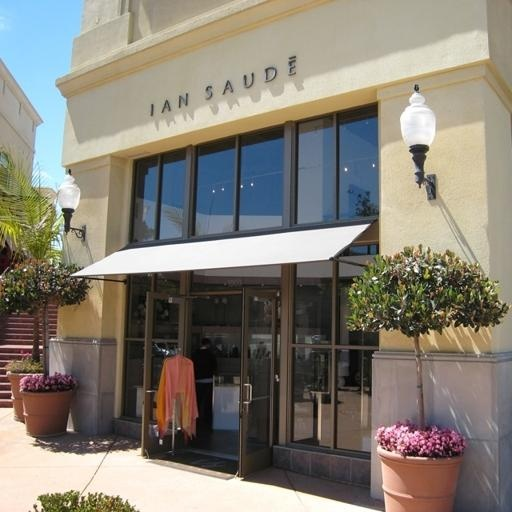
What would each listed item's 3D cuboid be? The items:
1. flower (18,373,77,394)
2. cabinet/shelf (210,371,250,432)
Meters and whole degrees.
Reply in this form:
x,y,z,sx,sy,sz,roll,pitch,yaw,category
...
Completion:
x,y,z,sx,sy,sz,roll,pitch,yaw,category
-3.989,2.446,9.645,1.003,0.325,0.442,7,-12,-27,flower
-0.635,3.134,10.315,0.566,0.946,0.628,0,-10,2,cabinet/shelf
